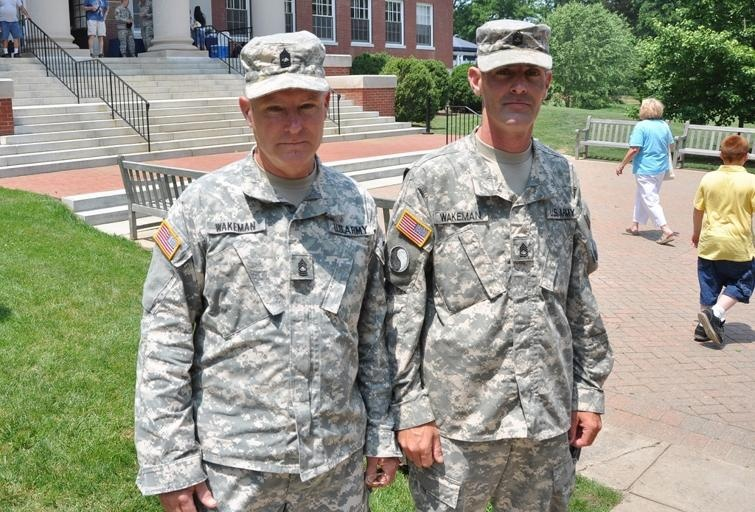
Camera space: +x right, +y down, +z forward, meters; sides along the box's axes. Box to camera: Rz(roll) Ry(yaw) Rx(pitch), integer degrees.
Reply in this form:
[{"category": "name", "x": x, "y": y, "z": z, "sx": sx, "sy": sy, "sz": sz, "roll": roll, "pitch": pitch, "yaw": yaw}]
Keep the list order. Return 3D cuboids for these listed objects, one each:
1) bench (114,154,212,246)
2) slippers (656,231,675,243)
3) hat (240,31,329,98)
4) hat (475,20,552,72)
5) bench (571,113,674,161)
[{"category": "bench", "x": -3.057, "y": -0.737, "z": 10.220, "sx": 1.589, "sy": 0.956, "sz": 0.626, "roll": 10, "pitch": -5, "yaw": 35}, {"category": "slippers", "x": 4.689, "y": -0.307, "z": 11.570, "sx": 0.176, "sy": 0.196, "sz": 0.464, "roll": -31, "pitch": 8, "yaw": -10}, {"category": "hat", "x": -0.500, "y": -1.027, "z": 3.766, "sx": 0.451, "sy": 0.367, "sz": 0.349, "roll": -2, "pitch": 15, "yaw": -14}, {"category": "hat", "x": 0.774, "y": -1.209, "z": 4.019, "sx": 0.459, "sy": 0.257, "sz": 0.490, "roll": -3, "pitch": 26, "yaw": -7}, {"category": "bench", "x": 6.938, "y": -3.483, "z": 20.981, "sx": 1.894, "sy": 1.105, "sz": 0.750, "roll": 15, "pitch": 33, "yaw": 42}]
